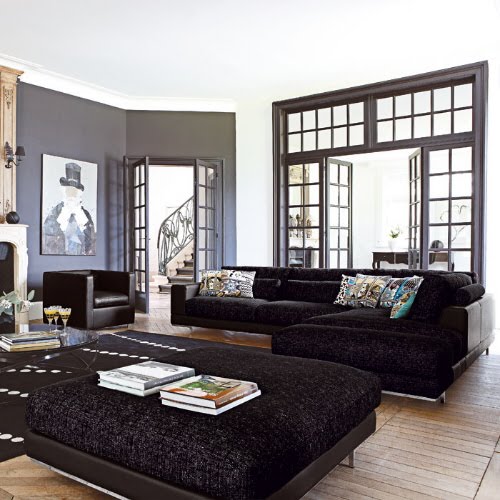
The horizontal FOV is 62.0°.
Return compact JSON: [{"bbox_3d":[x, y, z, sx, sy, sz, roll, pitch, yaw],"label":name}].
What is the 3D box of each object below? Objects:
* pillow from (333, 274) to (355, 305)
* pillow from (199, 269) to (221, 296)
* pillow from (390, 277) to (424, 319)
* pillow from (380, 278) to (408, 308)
[{"bbox_3d":[0.955,0.398,4.149,0.076,0.242,0.254,19,-21,1],"label":"pillow"},{"bbox_3d":[-0.495,0.421,5.138,0.243,0.283,0.110,-3,-26,22],"label":"pillow"},{"bbox_3d":[1.248,0.384,3.357,0.091,0.305,0.306,18,1,3],"label":"pillow"},{"bbox_3d":[1.250,0.389,3.766,0.099,0.249,0.247,23,1,2],"label":"pillow"}]
